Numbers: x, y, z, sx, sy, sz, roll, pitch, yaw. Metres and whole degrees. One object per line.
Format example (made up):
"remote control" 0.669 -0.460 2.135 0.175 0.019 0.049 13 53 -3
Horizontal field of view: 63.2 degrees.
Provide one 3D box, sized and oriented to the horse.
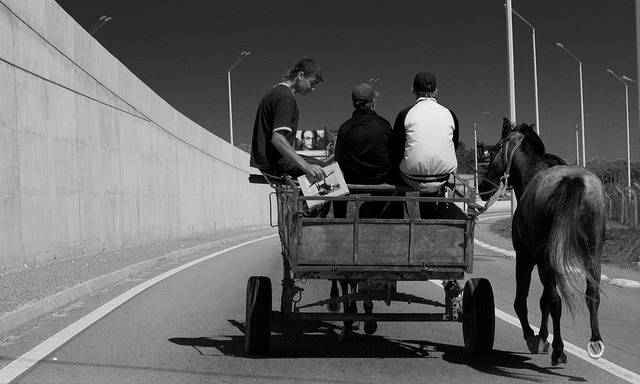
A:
"horse" 3.431 0.692 7.897 0.935 3.624 2.201 0 2 -12
